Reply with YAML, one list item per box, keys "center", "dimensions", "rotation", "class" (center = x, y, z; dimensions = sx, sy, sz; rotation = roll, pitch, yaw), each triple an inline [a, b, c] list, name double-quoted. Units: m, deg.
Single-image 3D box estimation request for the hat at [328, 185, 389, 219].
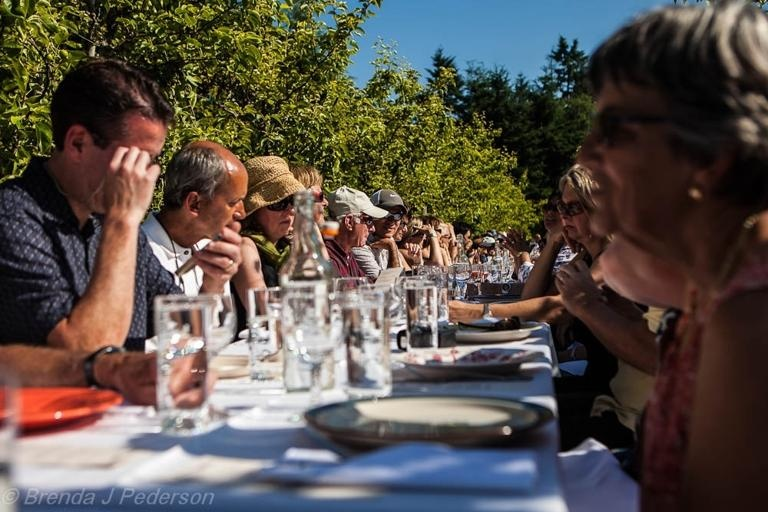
- center: [-0.310, -0.643, 7.639]
  dimensions: [0.654, 0.348, 0.419]
  rotation: [6, 7, -10]
  class: "hat"
